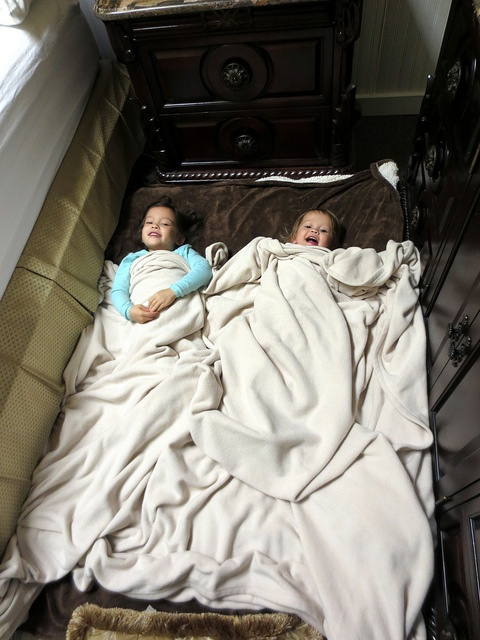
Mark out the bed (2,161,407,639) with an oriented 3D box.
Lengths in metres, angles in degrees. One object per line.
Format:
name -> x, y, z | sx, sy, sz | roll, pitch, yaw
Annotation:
bed -> -0.030, 0.054, 1.187 | 0.873, 0.396, 1.397 | 5, 67, 14
